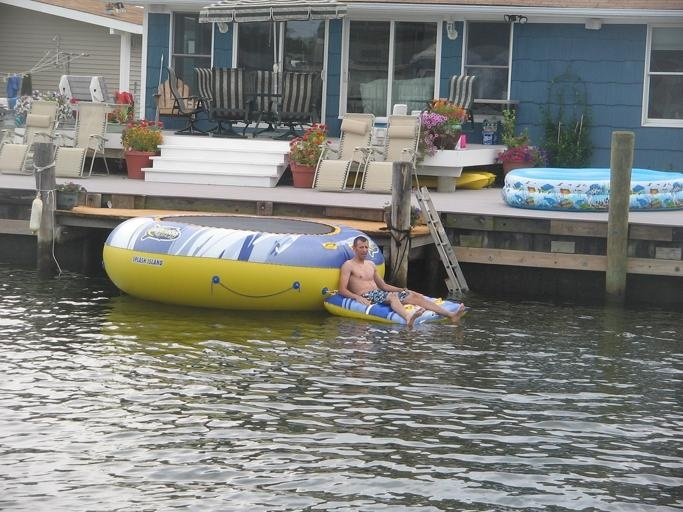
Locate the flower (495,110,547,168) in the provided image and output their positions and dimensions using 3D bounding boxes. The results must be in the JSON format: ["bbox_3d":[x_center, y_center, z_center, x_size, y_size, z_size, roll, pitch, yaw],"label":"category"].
[{"bbox_3d":[3.248,-2.130,21.950,0.828,1.063,0.904,1,7,3],"label":"flower"}]

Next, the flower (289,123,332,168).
[{"bbox_3d":[-0.544,-1.858,20.269,0.608,0.707,0.574,1,7,-2],"label":"flower"}]

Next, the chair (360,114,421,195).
[{"bbox_3d":[0.823,-1.688,19.816,0.739,0.815,1.239,6,30,27],"label":"chair"}]

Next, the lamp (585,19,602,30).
[{"bbox_3d":[4.512,-4.169,21.797,0.287,0.168,0.207,2,7,8],"label":"lamp"}]

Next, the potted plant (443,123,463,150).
[{"bbox_3d":[1.833,-1.999,20.139,0.460,0.340,0.417,2,3,-2],"label":"potted plant"}]

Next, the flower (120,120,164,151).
[{"bbox_3d":[-3.446,-2.115,21.190,0.679,0.421,0.652,-6,9,-10],"label":"flower"}]

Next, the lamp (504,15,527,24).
[{"bbox_3d":[3.157,-4.305,22.020,0.411,0.125,0.430,2,6,8],"label":"lamp"}]

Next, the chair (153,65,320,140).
[{"bbox_3d":[-1.307,-2.791,22.302,1.678,0.963,2.367,2,7,14],"label":"chair"}]

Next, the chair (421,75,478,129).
[{"bbox_3d":[1.973,-2.682,21.368,0.786,0.830,0.803,16,27,16],"label":"chair"}]

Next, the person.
[{"bbox_3d":[0.717,0.359,15.423,1.726,0.739,0.857,18,19,39],"label":"person"}]

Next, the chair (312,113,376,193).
[{"bbox_3d":[0.122,-1.752,20.269,0.996,1.025,1.622,6,19,22],"label":"chair"}]

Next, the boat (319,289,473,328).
[{"bbox_3d":[0.799,0.666,15.727,1.757,0.286,1.539,-3,11,-20],"label":"boat"}]

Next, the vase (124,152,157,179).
[{"bbox_3d":[-3.461,-1.567,20.935,0.598,0.328,0.511,1,-1,-10],"label":"vase"}]
